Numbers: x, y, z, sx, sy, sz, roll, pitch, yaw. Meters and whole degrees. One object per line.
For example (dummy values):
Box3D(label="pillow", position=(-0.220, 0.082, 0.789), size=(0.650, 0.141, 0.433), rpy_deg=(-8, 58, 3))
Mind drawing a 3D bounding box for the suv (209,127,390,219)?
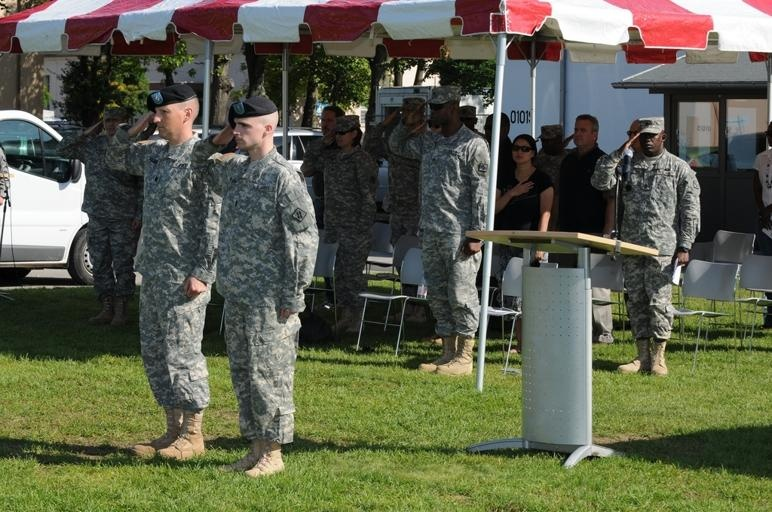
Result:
Box3D(label="suv", position=(-1.207, -1.538, 27.098), size=(3.014, 1.222, 1.545), rpy_deg=(-2, 6, -20))

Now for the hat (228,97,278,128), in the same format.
Box3D(label="hat", position=(-1.276, -1.386, 14.494), size=(0.389, 0.170, 0.278), rpy_deg=(-4, 4, -39))

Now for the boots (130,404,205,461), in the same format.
Box3D(label="boots", position=(-2.075, 1.795, 14.918), size=(0.923, 0.563, 0.347), rpy_deg=(3, -5, -1))

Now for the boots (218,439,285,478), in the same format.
Box3D(label="boots", position=(-1.221, 1.959, 14.542), size=(0.795, 0.452, 0.250), rpy_deg=(3, -1, 11))

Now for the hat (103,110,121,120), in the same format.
Box3D(label="hat", position=(-3.349, -1.715, 18.363), size=(0.170, 0.103, 0.159), rpy_deg=(2, 1, -16))

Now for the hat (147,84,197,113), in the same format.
Box3D(label="hat", position=(-2.127, -1.555, 14.842), size=(0.394, 0.137, 0.291), rpy_deg=(-21, 14, -15))

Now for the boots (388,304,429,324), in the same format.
Box3D(label="boots", position=(0.387, 0.755, 19.662), size=(0.429, 0.180, 0.284), rpy_deg=(0, -4, 6))

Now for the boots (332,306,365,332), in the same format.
Box3D(label="boots", position=(-0.484, 0.818, 18.911), size=(0.407, 0.372, 0.307), rpy_deg=(2, -7, -8))
